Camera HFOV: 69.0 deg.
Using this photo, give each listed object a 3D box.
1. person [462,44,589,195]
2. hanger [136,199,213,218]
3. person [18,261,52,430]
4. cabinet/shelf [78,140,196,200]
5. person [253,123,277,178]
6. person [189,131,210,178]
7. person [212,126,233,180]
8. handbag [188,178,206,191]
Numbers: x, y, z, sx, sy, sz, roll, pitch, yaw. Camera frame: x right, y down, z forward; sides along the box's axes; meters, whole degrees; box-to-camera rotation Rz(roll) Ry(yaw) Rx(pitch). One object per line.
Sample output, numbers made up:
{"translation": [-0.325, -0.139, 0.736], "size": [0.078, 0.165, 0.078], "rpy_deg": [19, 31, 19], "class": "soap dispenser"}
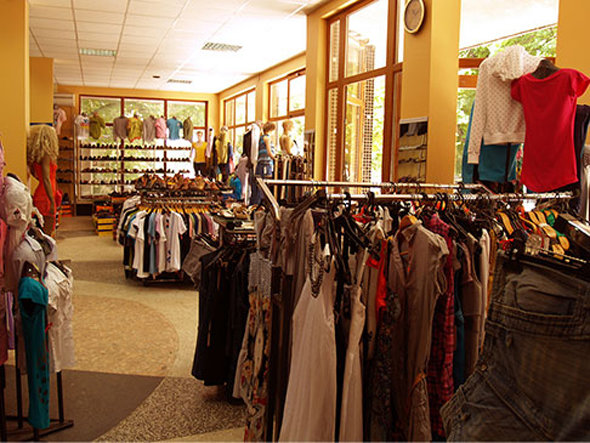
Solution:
{"translation": [1.955, -0.882, 3.691], "size": [0.308, 1.234, 0.972], "rpy_deg": [-2, 7, -39], "class": "person"}
{"translation": [-1.763, -0.223, 6.484], "size": [1.113, 0.193, 0.422], "rpy_deg": [0, 7, -24], "class": "hanger"}
{"translation": [-1.548, 0.742, 2.547], "size": [0.141, 0.968, 0.186], "rpy_deg": [-1, 5, -33], "class": "person"}
{"translation": [-5.996, -1.924, 15.666], "size": [3.583, 2.323, 0.595], "rpy_deg": [1, 5, -17], "class": "cabinet/shelf"}
{"translation": [-0.545, -1.334, 7.879], "size": [0.331, 1.031, 1.036], "rpy_deg": [1, 6, -5], "class": "person"}
{"translation": [-2.965, -2.140, 13.557], "size": [0.406, 1.382, 0.737], "rpy_deg": [0, 5, -27], "class": "person"}
{"translation": [-2.166, -1.975, 12.932], "size": [0.583, 1.525, 1.636], "rpy_deg": [1, 6, -15], "class": "person"}
{"translation": [-1.569, -0.602, 6.910], "size": [0.244, 0.197, 0.425], "rpy_deg": [1, 7, -15], "class": "handbag"}
